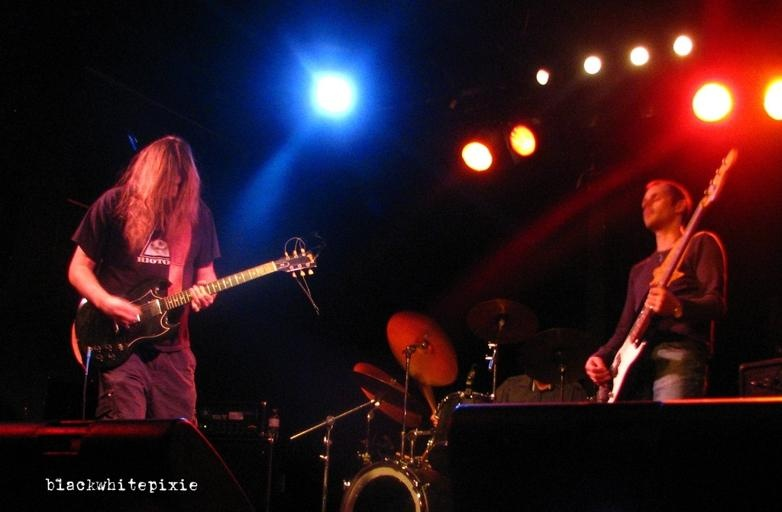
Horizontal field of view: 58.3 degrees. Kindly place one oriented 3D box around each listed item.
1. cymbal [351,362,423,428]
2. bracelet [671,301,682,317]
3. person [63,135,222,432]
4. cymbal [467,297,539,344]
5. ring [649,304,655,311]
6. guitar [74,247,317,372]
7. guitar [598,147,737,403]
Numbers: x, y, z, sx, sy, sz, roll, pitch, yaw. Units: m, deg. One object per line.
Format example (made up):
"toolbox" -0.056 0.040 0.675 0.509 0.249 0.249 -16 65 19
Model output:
"cymbal" -0.015 1.348 6.494 0.554 0.544 0.852 -6 -29 12
"bracelet" 2.078 0.390 5.081 0.077 0.073 0.091 -10 -30 18
"person" -1.901 0.522 5.512 0.945 0.435 3.133 -6 -50 -28
"cymbal" 1.018 0.607 6.392 0.611 0.378 0.537 -12 -31 21
"ring" 1.923 0.378 5.160 0.010 0.040 0.042 -8 0 -14
"guitar" -1.543 0.372 5.180 1.393 1.096 0.366 14 -31 -24
"guitar" 2.244 0.139 5.579 0.213 0.633 2.154 21 -65 10
